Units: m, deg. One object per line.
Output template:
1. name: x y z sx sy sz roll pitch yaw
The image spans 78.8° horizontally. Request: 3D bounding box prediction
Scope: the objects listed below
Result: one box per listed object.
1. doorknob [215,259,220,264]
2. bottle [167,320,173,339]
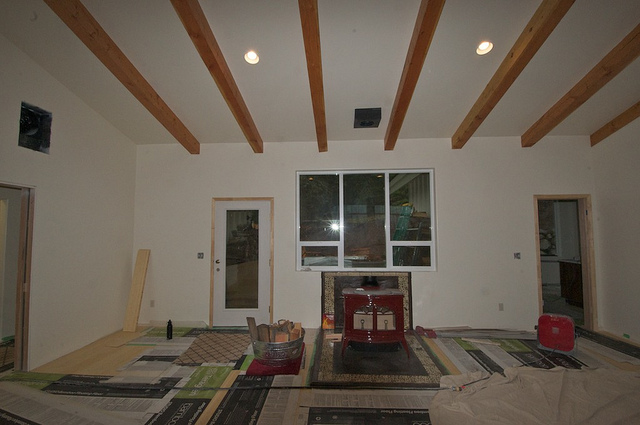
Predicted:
1. doorknob: -1.967 0.955 7.534 0.059 0.084 0.019 -1 10 -2
2. bottle: -2.654 2.070 6.898 0.079 0.325 0.200 -4 11 -15
